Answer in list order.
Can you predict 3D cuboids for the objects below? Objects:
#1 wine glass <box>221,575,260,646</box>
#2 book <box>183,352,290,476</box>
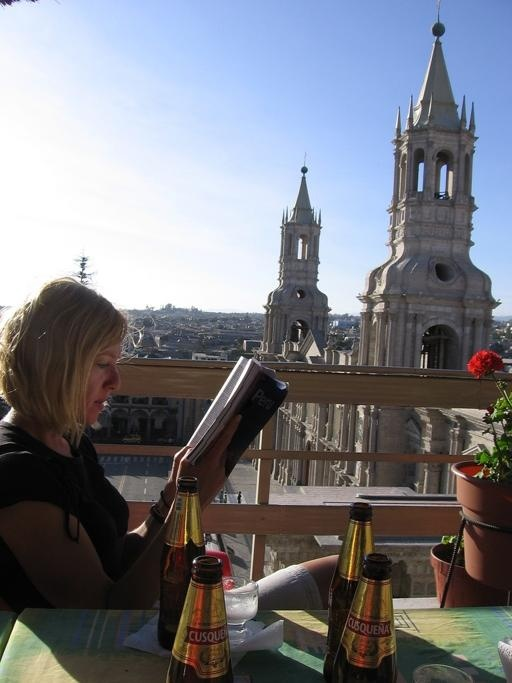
[{"bbox_3d":[-0.039,0.661,1.493,0.149,0.145,0.154,1,-5,-1],"label":"wine glass"},{"bbox_3d":[-0.079,0.246,1.967,0.318,0.405,0.140,42,8,26],"label":"book"}]
